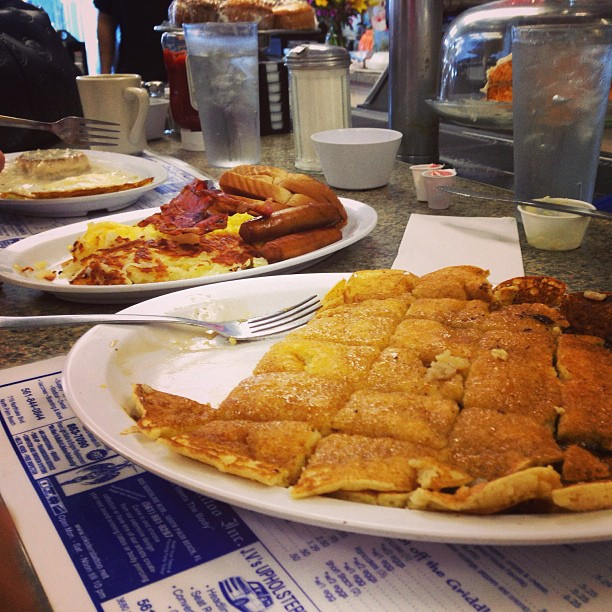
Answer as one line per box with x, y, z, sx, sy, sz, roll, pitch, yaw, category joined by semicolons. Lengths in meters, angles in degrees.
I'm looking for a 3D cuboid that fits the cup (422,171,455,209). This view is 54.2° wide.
0.307;-0.294;1.509;0.117;0.082;0.096;-3;24;1;cup

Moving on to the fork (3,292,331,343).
-0.182;0.027;0.871;0.457;0.056;0.093;-6;20;-17;fork

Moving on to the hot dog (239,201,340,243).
-0.025;-0.164;1.175;0.254;0.049;0.064;-13;2;-23;hot dog

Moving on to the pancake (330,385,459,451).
0.093;0.114;0.626;0.116;0.022;0.062;8;44;22;pancake

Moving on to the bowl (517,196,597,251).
0.484;-0.166;1.197;0.124;0.094;0.149;-3;19;-4;bowl

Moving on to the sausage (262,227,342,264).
-0.004;-0.119;1.161;0.080;0.047;0.169;11;21;31;sausage

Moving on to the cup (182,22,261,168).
-0.249;-0.662;1.903;0.215;0.442;0.158;-3;24;-3;cup

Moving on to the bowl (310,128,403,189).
0.145;-0.416;1.697;0.240;0.162;0.220;-1;20;0;bowl

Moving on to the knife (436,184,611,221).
0.356;-0.235;1.347;0.035;0.100;0.749;-60;25;-5;knife

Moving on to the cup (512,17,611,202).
0.520;-0.396;1.244;0.192;0.350;0.091;3;25;10;cup
